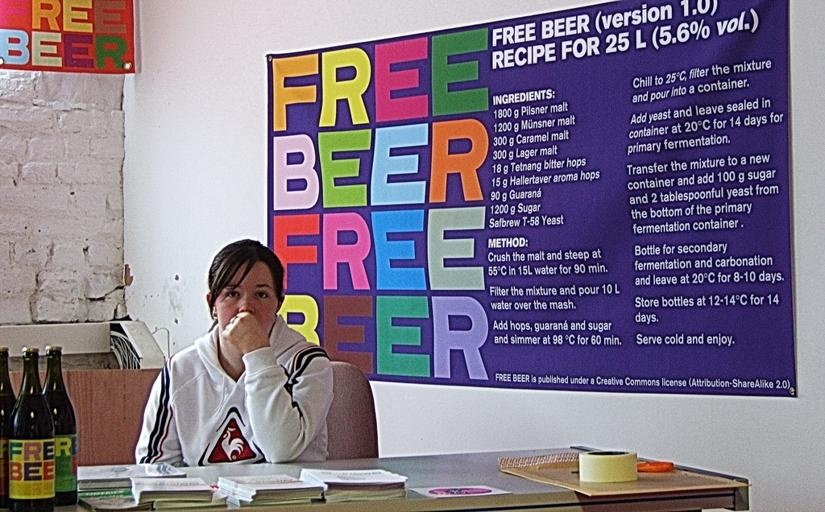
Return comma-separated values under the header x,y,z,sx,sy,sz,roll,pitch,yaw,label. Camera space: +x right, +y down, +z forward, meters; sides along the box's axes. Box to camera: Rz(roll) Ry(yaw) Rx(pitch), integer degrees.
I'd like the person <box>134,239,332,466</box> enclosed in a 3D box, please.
x,y,z,sx,sy,sz,roll,pitch,yaw,label
-0.557,0.357,2.644,0.825,1.006,0.691,0,-20,-9,person
